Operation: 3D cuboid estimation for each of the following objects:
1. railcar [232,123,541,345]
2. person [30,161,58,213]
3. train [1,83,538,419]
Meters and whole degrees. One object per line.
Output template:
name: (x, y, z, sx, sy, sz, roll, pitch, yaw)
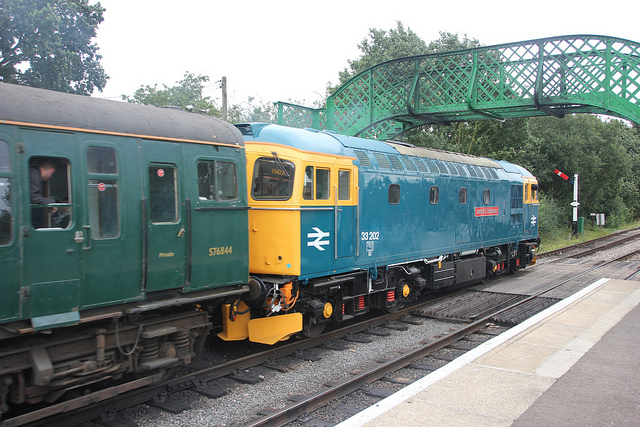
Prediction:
railcar: (2.594, 0.271, 15.211, 3.637, 4.107, 13.832, -2, -1, 41)
person: (-4.060, -0.394, 6.445, 0.326, 0.762, 0.099, -3, -2, -31)
train: (0.426, 0.475, 11.682, 3.612, 3.148, 16.848, -1, -1, 39)
